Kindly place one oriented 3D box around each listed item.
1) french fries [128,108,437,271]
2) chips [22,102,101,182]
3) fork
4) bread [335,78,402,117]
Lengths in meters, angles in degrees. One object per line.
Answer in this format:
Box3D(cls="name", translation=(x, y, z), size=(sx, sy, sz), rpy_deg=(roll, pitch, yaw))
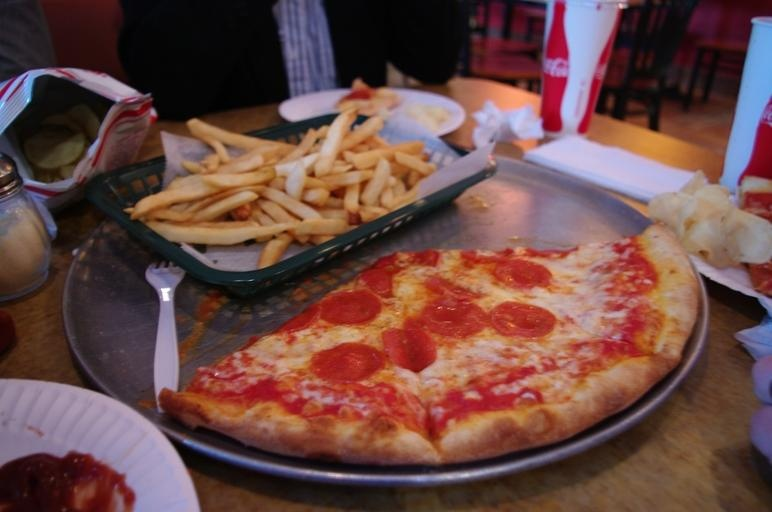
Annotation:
Box3D(cls="french fries", translation=(-0.284, -0.136, 1.955), size=(0.838, 0.244, 0.483), rpy_deg=(-22, 53, -21))
Box3D(cls="chips", translation=(-1.096, -0.381, 2.055), size=(0.137, 0.264, 0.232), rpy_deg=(10, 22, 24))
Box3D(cls="fork", translation=(-0.585, 0.171, 1.616), size=(0.096, 0.043, 0.538), rpy_deg=(4, 35, -13))
Box3D(cls="bread", translation=(-0.073, -0.672, 2.595), size=(0.306, 0.066, 0.291), rpy_deg=(-12, 39, -21))
